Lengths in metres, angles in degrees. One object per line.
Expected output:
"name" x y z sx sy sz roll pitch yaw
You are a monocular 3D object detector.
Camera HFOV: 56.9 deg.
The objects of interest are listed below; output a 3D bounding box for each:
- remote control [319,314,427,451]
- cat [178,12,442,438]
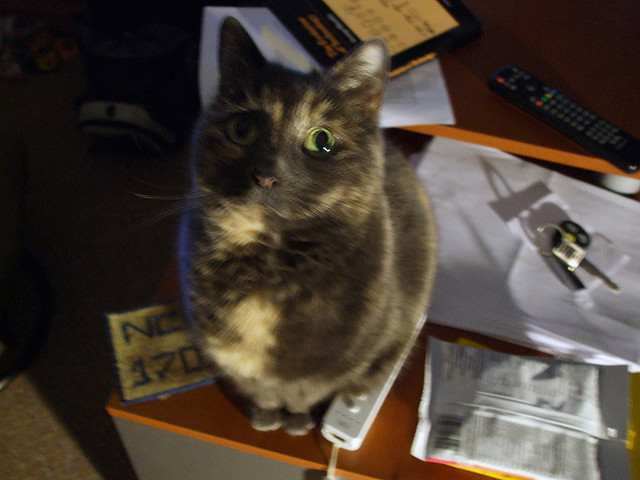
"remote control" 0.102 0.240 1.065 0.072 0.058 0.295 18 56 28
"cat" -0.011 0.003 0.959 0.431 0.511 0.451 7 53 -14
